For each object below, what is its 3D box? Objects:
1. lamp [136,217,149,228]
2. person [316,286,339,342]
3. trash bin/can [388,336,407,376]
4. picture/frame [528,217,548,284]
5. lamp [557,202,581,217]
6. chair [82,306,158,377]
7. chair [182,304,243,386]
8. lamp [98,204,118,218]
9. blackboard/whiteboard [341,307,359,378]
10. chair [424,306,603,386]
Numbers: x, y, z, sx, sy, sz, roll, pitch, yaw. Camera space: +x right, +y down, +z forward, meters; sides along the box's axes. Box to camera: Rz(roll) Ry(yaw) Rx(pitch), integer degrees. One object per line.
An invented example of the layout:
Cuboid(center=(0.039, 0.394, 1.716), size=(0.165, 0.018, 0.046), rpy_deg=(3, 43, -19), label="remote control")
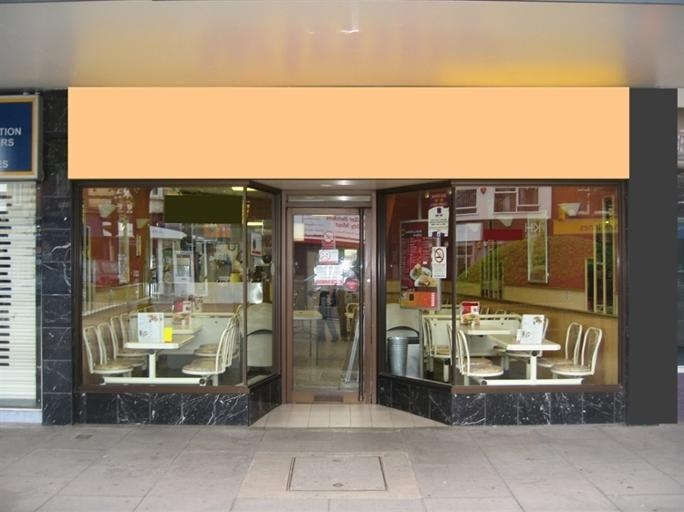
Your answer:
Cuboid(center=(-2.525, -0.419, 7.711), size=(0.158, 0.090, 0.037), rpy_deg=(-14, 3, 6), label="lamp")
Cuboid(center=(-0.189, 0.824, 8.457), size=(0.277, 0.719, 0.111), rpy_deg=(0, 8, -2), label="person")
Cuboid(center=(0.750, 1.328, 8.206), size=(0.163, 0.498, 0.354), rpy_deg=(-7, 10, -40), label="trash bin/can")
Cuboid(center=(2.442, -0.066, 7.676), size=(0.262, 0.810, 0.073), rpy_deg=(-1, 8, -8), label="picture/frame")
Cuboid(center=(2.835, -0.583, 7.642), size=(0.254, 0.176, 0.046), rpy_deg=(-1, 8, -8), label="lamp")
Cuboid(center=(-2.783, 1.112, 7.875), size=(0.649, 0.757, 1.104), rpy_deg=(0, -1, 17), label="chair")
Cuboid(center=(-1.765, 1.032, 8.217), size=(0.885, 1.193, 1.238), rpy_deg=(4, -1, -1), label="chair")
Cuboid(center=(-2.975, -0.576, 7.772), size=(0.186, 0.147, 0.150), rpy_deg=(2, -1, -6), label="lamp")
Cuboid(center=(0.113, 1.227, 8.438), size=(0.126, 1.031, 0.794), rpy_deg=(12, -13, 6), label="blackboard/whiteboard")
Cuboid(center=(2.223, 1.097, 7.928), size=(1.530, 0.669, 1.116), rpy_deg=(1, -4, 1), label="chair")
